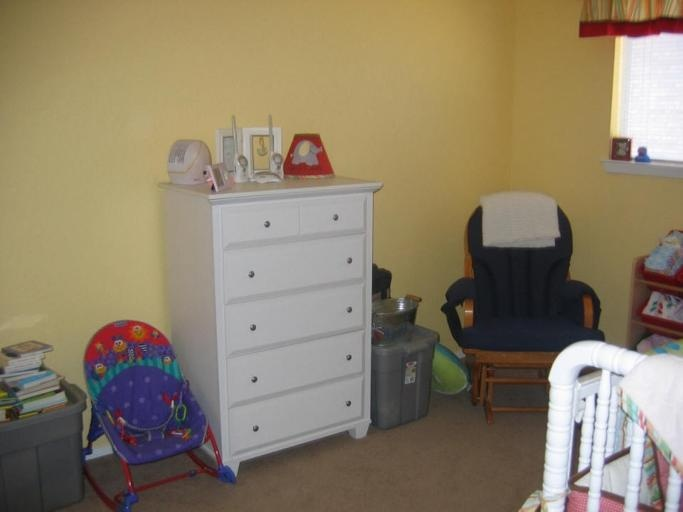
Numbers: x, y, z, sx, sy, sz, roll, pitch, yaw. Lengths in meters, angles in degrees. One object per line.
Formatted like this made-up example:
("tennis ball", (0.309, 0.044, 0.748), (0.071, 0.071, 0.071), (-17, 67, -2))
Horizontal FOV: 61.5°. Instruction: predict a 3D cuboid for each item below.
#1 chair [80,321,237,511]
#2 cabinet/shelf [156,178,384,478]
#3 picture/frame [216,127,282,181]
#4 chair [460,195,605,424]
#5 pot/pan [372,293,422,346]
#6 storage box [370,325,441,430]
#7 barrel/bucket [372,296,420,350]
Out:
("chair", (-1.112, 0.782, 3.394), (0.736, 0.997, 0.972), (-6, 13, -35))
("cabinet/shelf", (-0.369, 0.327, 3.578), (1.076, 1.640, 0.806), (-6, 17, -28))
("picture/frame", (-0.562, -0.617, 3.487), (0.403, 0.323, 0.041), (-7, 31, -18))
("chair", (1.254, 0.331, 3.900), (0.967, 1.439, 1.049), (3, 8, 31))
("pot/pan", (0.344, 0.415, 3.737), (0.348, 0.138, 0.214), (-5, 2, -37))
("storage box", (0.358, 0.824, 3.854), (0.537, 0.533, 0.411), (-2, 4, -29))
("barrel/bucket", (0.352, 0.414, 3.740), (0.348, 0.137, 0.213), (-7, 4, -37))
